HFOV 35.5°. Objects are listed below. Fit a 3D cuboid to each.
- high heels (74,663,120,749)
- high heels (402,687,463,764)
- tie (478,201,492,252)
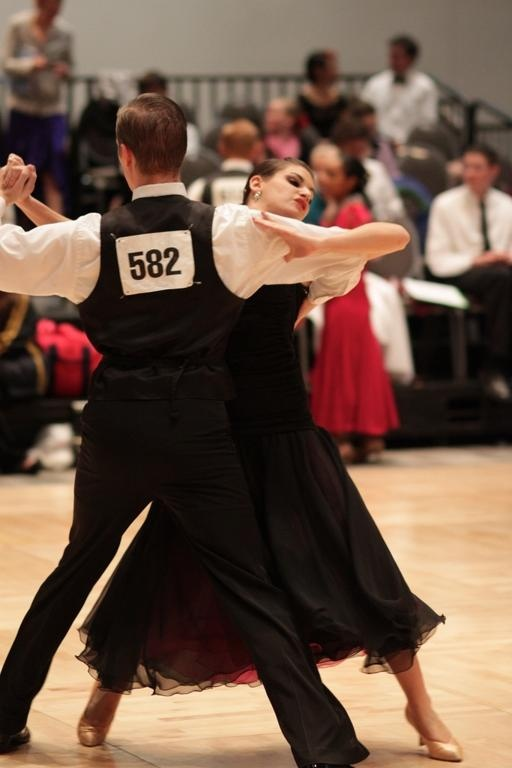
[{"bbox_3d":[-0.329,0.698,1.677,0.070,0.197,0.088,18,5,-8],"label":"high heels"},{"bbox_3d":[0.354,0.695,1.582,0.065,0.104,0.149,-3,6,-30],"label":"high heels"},{"bbox_3d":[1.980,-1.380,6.925,0.105,0.435,0.066,-1,6,-12],"label":"tie"}]
